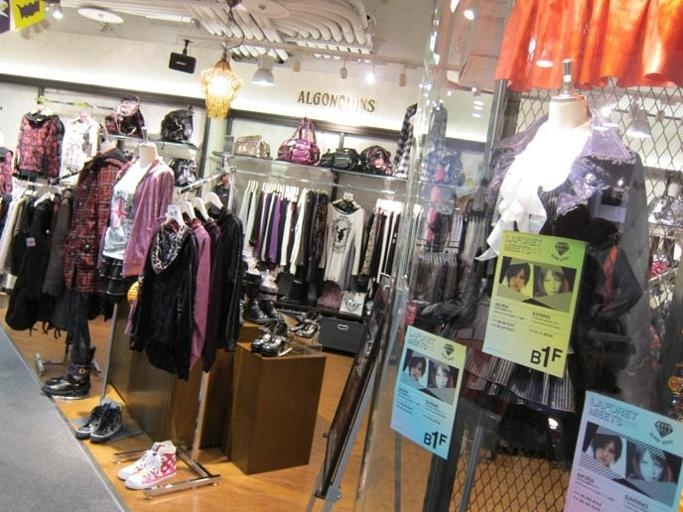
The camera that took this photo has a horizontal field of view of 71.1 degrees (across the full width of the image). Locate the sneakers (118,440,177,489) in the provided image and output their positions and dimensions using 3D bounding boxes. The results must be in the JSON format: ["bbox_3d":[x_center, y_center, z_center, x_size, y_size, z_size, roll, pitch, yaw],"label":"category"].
[{"bbox_3d":[-1.098,1.203,2.714,0.266,0.173,0.173,4,4,-43],"label":"sneakers"}]

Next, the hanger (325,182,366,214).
[{"bbox_3d":[0.061,-0.712,5.885,0.381,0.555,0.057,4,23,14],"label":"hanger"}]

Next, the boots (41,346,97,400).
[{"bbox_3d":[-2.084,0.954,3.808,0.413,0.453,0.247,8,-3,-21],"label":"boots"}]

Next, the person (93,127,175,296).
[{"bbox_3d":[-1.328,-0.226,3.112,0.619,1.031,0.269,11,6,36],"label":"person"}]

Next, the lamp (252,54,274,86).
[{"bbox_3d":[-0.831,-2.019,5.137,0.191,0.364,0.375,6,5,-11],"label":"lamp"}]

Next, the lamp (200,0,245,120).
[{"bbox_3d":[-1.241,-1.981,4.998,0.386,1.077,1.841,6,5,-14],"label":"lamp"}]

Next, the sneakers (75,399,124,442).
[{"bbox_3d":[-1.556,1.093,3.165,0.133,0.171,0.384,28,1,4],"label":"sneakers"}]

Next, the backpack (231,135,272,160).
[{"bbox_3d":[-1.107,-1.354,5.943,0.426,0.302,0.290,7,3,23],"label":"backpack"}]
